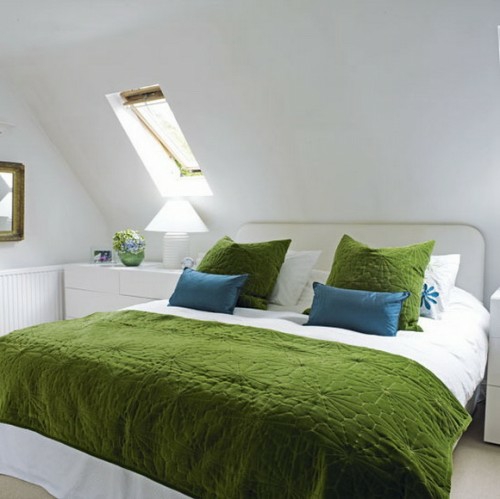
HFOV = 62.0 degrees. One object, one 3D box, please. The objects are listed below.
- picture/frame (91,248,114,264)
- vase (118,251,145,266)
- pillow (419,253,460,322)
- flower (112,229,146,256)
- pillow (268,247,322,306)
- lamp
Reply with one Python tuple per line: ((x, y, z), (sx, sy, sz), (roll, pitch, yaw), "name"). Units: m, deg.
((-1.408, 0.064, 3.980), (0.158, 0.110, 0.027), (-1, -3, -35), "picture/frame")
((-1.045, 0.079, 3.684), (0.165, 0.093, 0.147), (1, 2, -13), "vase")
((1.118, 0.208, 2.335), (0.098, 0.308, 0.319), (14, 2, -5), "pillow")
((-1.072, -0.066, 3.752), (0.258, 0.245, 0.083), (-1, -5, -9), "flower")
((0.312, 0.203, 2.733), (0.095, 0.316, 0.346), (36, -24, -35), "pillow")
((-0.566, -0.137, 3.777), (0.598, 0.639, 0.582), (0, 1, 3), "lamp")
